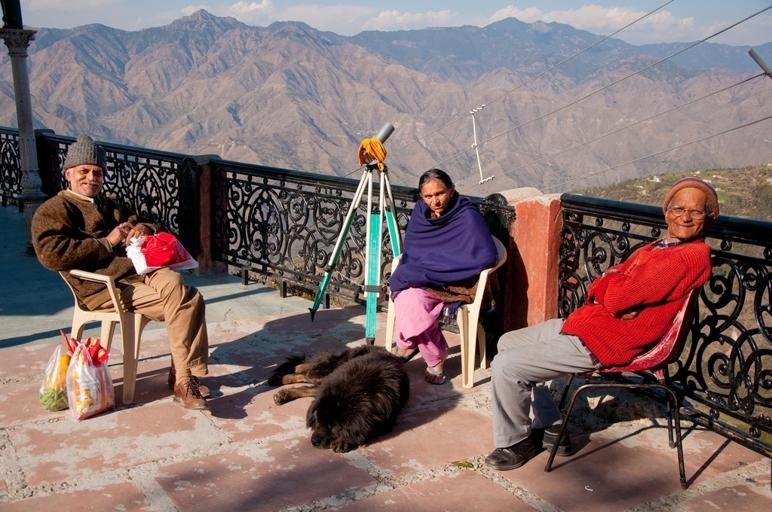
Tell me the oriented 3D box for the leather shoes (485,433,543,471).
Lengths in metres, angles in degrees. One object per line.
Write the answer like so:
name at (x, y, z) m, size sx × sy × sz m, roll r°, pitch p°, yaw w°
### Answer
leather shoes at (0.777, 1.155, 3.731) m, size 0.492 × 0.178 × 0.183 m, roll -5°, pitch 1°, yaw -44°

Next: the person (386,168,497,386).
person at (0.467, 0.138, 4.896) m, size 0.966 × 1.574 × 0.820 m, roll 1°, pitch 13°, yaw 13°

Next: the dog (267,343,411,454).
dog at (-0.363, 0.872, 4.139) m, size 0.869 × 0.364 × 1.153 m, roll -3°, pitch 25°, yaw -8°

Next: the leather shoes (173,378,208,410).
leather shoes at (-1.304, 0.925, 4.150) m, size 0.298 × 0.119 × 0.135 m, roll 9°, pitch 15°, yaw 44°

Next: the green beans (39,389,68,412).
green beans at (-2.191, 0.944, 3.998) m, size 0.177 × 0.155 × 0.062 m, roll -3°, pitch -2°, yaw -5°

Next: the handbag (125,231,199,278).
handbag at (-1.624, -0.053, 4.325) m, size 0.367 × 0.157 × 0.463 m, roll 41°, pitch 29°, yaw 24°

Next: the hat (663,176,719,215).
hat at (1.713, -0.352, 3.428) m, size 0.228 × 0.242 × 0.142 m, roll 6°, pitch 2°, yaw 26°

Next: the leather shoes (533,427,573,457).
leather shoes at (1.011, 1.136, 3.787) m, size 0.125 × 0.126 × 0.300 m, roll -1°, pitch -6°, yaw -15°

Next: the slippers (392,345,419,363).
slippers at (0.171, 0.761, 4.859) m, size 0.204 × 0.116 × 0.196 m, roll -15°, pitch -10°, yaw -21°

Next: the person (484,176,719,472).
person at (1.231, 0.408, 3.578) m, size 1.213 × 1.726 × 0.312 m, roll 2°, pitch 11°, yaw 4°

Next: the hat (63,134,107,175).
hat at (-2.090, -0.677, 4.281) m, size 0.262 × 0.249 × 0.273 m, roll 0°, pitch -6°, yaw -35°
